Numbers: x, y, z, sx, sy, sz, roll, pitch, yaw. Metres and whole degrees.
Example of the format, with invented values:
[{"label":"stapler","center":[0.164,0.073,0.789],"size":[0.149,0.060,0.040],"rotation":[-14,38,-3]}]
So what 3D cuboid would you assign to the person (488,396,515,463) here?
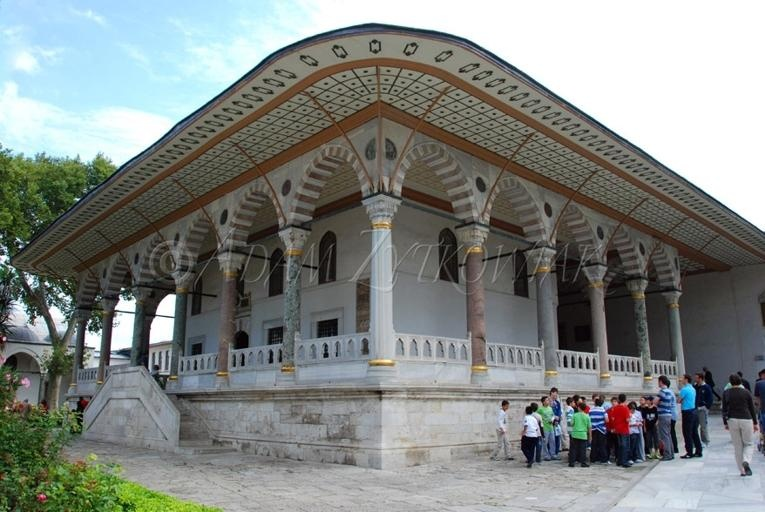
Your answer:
[{"label":"person","center":[2.502,3.709,11.462],"size":[0.441,1.195,1.432],"rotation":[-3,-15,12]}]

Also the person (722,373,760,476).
[{"label":"person","center":[5.986,2.818,9.019],"size":[0.472,1.631,0.715],"rotation":[-9,-18,30]}]
